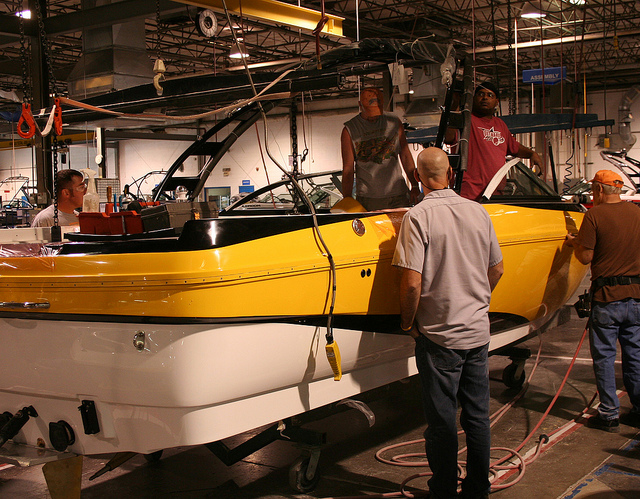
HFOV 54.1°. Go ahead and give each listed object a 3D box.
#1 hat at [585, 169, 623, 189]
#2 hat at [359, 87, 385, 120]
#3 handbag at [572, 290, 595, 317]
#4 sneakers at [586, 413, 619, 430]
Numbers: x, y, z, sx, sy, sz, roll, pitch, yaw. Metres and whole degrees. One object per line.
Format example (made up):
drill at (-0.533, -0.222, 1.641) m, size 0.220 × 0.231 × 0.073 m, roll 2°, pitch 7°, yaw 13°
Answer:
hat at (1.869, -0.459, 4.120) m, size 0.138 × 0.107 × 0.187 m, roll -4°, pitch 26°, yaw -14°
hat at (0.300, -0.868, 3.685) m, size 0.137 × 0.185 × 0.093 m, roll -2°, pitch 6°, yaw 4°
handbag at (1.820, 0.360, 4.207) m, size 0.142 × 0.175 × 0.184 m, roll -3°, pitch -1°, yaw -12°
sneakers at (1.782, 1.101, 4.004) m, size 0.085 × 0.084 × 0.204 m, roll -5°, pitch 9°, yaw -39°
